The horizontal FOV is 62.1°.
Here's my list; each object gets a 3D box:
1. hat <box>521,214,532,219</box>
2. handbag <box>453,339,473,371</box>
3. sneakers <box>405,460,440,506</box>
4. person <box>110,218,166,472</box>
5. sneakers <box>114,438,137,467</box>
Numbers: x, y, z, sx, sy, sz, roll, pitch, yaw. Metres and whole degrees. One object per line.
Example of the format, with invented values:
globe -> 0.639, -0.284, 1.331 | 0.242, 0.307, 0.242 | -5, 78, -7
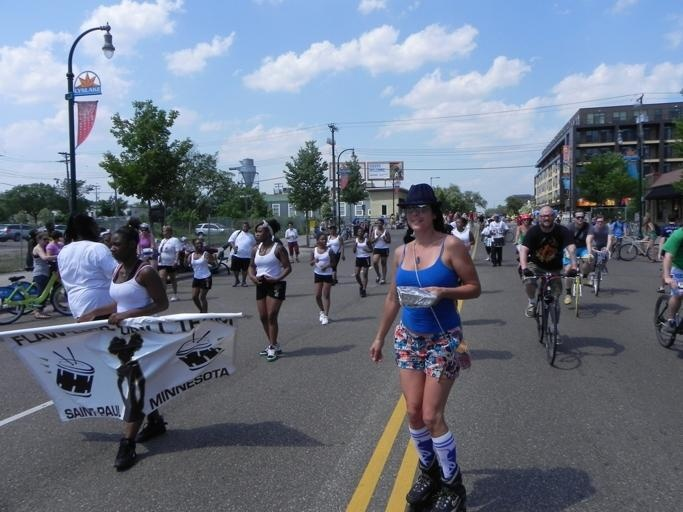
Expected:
hat -> 4.421, -0.932, 13.631 | 0.174, 0.094, 0.207 | 1, 1, 34
handbag -> 0.962, 0.823, 4.657 | 0.171, 0.250, 0.097 | -10, 2, -33
sneakers -> 0.715, 1.888, 4.736 | 0.151, 0.215, 0.472 | -7, -1, 30
person -> -2.032, 0.810, 5.718 | 0.564, 2.174, 1.037 | -4, 7, -20
sneakers -> -2.032, 1.865, 5.362 | 0.185, 0.210, 0.296 | -2, 7, -3
